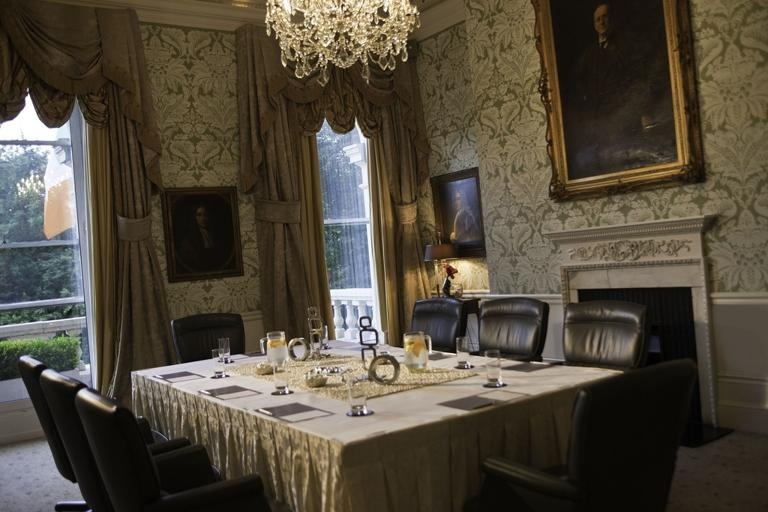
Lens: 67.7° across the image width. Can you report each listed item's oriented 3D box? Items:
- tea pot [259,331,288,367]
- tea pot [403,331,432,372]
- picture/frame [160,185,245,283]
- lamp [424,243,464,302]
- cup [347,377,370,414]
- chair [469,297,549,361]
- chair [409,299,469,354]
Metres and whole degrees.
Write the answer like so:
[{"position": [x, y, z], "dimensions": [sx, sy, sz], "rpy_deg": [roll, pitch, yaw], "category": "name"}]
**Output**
[{"position": [-0.711, 0.623, 3.768], "dimensions": [0.172, 0.300, 0.287], "rpy_deg": [1, -7, -22], "category": "tea pot"}, {"position": [0.214, 0.631, 3.826], "dimensions": [0.156, 0.248, 0.261], "rpy_deg": [-2, -5, 6], "category": "tea pot"}, {"position": [-2.095, -0.251, 6.459], "dimensions": [0.965, 1.194, 0.089], "rpy_deg": [-5, -1, -33], "category": "picture/frame"}, {"position": [0.724, 0.188, 7.187], "dimensions": [0.447, 0.712, 0.663], "rpy_deg": [-12, 12, -25], "category": "lamp"}, {"position": [-0.152, 0.763, 3.166], "dimensions": [0.131, 0.192, 0.238], "rpy_deg": [-8, 11, -6], "category": "cup"}, {"position": [1.034, 0.577, 4.630], "dimensions": [0.486, 0.542, 0.539], "rpy_deg": [-3, -9, 34], "category": "chair"}, {"position": [0.565, 0.655, 5.263], "dimensions": [0.421, 0.609, 0.462], "rpy_deg": [-5, -10, 36], "category": "chair"}]
